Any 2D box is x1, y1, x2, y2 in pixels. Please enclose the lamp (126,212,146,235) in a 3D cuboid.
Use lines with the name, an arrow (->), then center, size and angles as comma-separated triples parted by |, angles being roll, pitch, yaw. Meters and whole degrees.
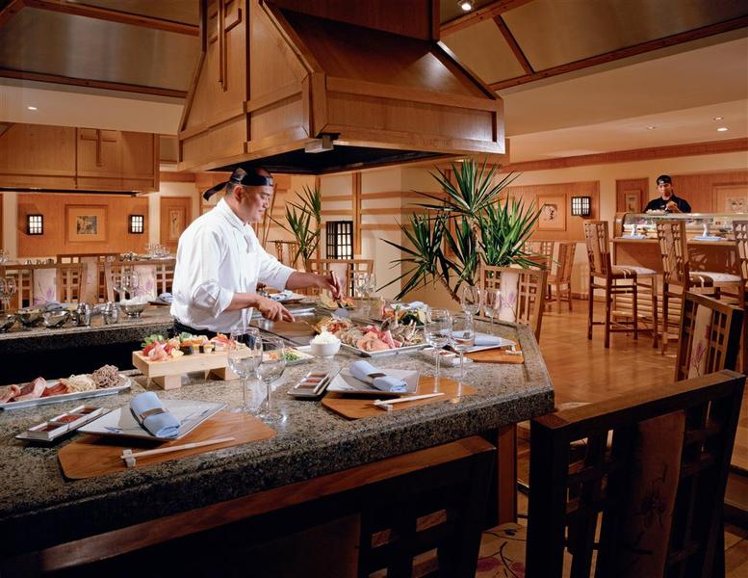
lamp -> -3.843, -1.068, 8.249 | 0.149, 0.374, 0.410 | 1, -2, 21

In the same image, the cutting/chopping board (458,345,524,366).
cutting/chopping board -> 0.487, 0.263, 2.072 | 0.222, 0.035, 0.249 | -4, 6, 12

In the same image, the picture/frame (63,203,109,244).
picture/frame -> -4.268, -0.987, 7.546 | 0.049, 0.524, 0.640 | 2, 6, 40

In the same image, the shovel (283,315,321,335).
shovel -> -0.382, 0.181, 2.593 | 0.200, 0.039, 0.401 | -6, 6, -9

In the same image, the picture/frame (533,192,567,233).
picture/frame -> 3.606, -1.580, 10.468 | 0.292, 0.793, 0.665 | -7, 6, -19

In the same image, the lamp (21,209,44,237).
lamp -> -4.669, -0.904, 7.062 | 0.090, 0.221, 0.240 | -3, 6, 21

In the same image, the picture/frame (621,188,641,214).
picture/frame -> 4.636, -1.608, 9.261 | 0.143, 0.392, 0.356 | -7, 6, -20

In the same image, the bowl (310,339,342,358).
bowl -> -0.181, 0.231, 2.038 | 0.138, 0.067, 0.106 | -8, 6, -29

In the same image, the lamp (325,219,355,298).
lamp -> -0.446, -0.378, 6.733 | 0.362, 1.020, 0.317 | -1, 4, 13

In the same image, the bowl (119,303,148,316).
bowl -> -1.365, 0.111, 2.910 | 0.128, 0.077, 0.238 | -7, 6, -25

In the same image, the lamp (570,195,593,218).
lamp -> 4.036, -1.621, 9.941 | 0.176, 0.453, 0.485 | -1, 1, -39

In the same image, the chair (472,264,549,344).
chair -> 0.803, 0.227, 3.221 | 0.429, 0.693, 0.432 | 3, 44, 16

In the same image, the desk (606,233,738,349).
desk -> 2.948, -0.027, 5.118 | 0.812, 0.676, 1.450 | 0, 3, -5
